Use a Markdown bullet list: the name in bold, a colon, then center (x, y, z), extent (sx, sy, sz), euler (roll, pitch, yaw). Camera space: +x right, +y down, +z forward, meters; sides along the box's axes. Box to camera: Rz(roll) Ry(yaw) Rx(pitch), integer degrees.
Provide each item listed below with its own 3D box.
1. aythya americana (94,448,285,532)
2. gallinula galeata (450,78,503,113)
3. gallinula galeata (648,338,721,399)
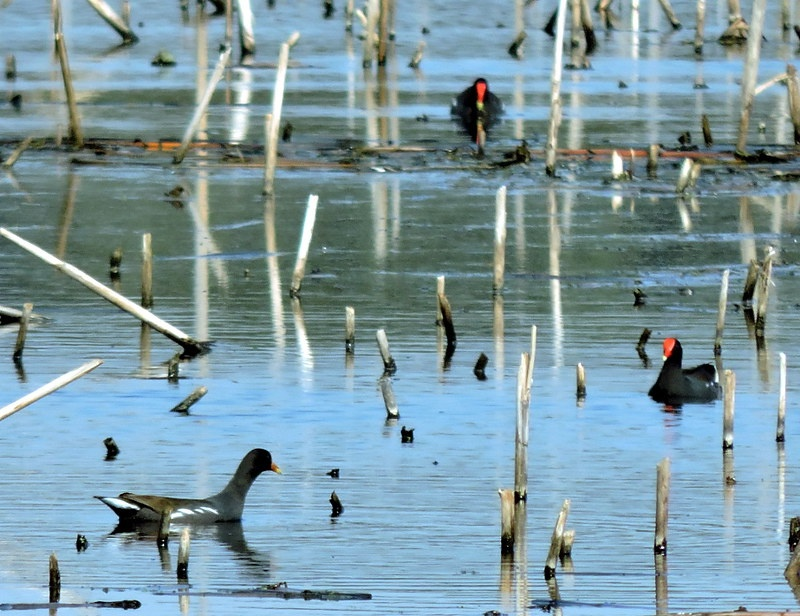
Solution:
- **aythya americana**: center (-2.810, 2.522, 25.657), extent (2.477, 1.361, 0.811), euler (2, 7, -35)
- **gallinula galeata**: center (1.914, -5.672, 52.503), extent (1.220, 1.033, 1.010), euler (10, 21, 34)
- **gallinula galeata**: center (4.492, 1.024, 30.937), extent (1.040, 1.115, 1.450), euler (5, 4, 41)
